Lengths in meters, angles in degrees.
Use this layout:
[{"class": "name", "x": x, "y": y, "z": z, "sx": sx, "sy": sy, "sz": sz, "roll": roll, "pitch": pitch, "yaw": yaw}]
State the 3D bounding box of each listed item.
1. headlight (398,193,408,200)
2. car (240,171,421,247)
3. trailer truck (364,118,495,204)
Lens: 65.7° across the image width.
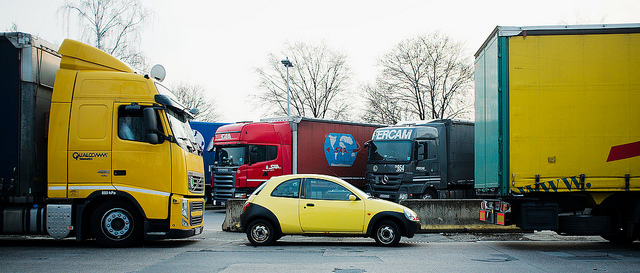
[{"class": "headlight", "x": 5.033, "y": 3.582, "z": 29.770, "sx": 0.566, "sy": 0.325, "sz": 0.143, "roll": 1, "pitch": 7, "yaw": 10}, {"class": "car", "x": 0.460, "y": 3.340, "z": 23.328, "sx": 7.613, "sy": 2.493, "sz": 3.388, "roll": -1, "pitch": -3, "yaw": -1}, {"class": "trailer truck", "x": 7.891, "y": 1.867, "z": 34.840, "sx": 5.250, "sy": 5.142, "sz": 12.230, "roll": 2, "pitch": -3, "yaw": 38}]
